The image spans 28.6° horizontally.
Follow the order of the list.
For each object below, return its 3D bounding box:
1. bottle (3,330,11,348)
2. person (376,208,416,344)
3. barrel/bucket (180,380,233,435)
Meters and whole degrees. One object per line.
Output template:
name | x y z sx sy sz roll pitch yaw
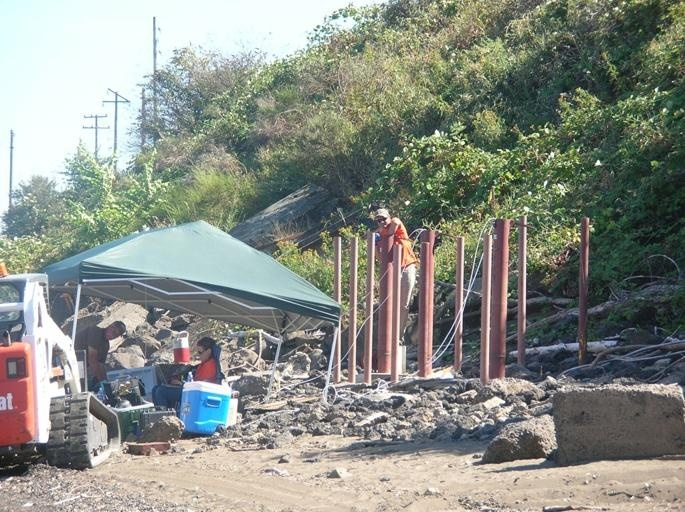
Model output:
bottle | -6.554 1.599 26.273 0.158 0.343 0.520 1 -10 -15
person | 1.248 0.394 31.127 0.733 3.099 1.353 -4 -9 16
barrel/bucket | -3.008 3.323 29.065 0.859 1.169 1.050 10 -11 -27
